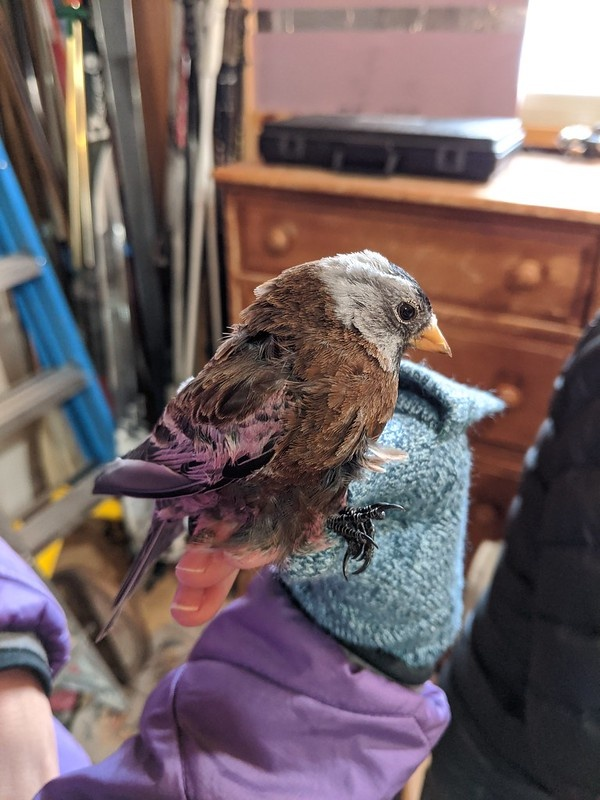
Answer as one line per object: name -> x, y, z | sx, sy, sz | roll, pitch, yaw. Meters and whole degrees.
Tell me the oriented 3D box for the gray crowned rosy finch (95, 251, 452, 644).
gray crowned rosy finch -> -0.022, 0.032, 0.542 | 0.320, 0.277, 0.149 | -4, 8, 10
